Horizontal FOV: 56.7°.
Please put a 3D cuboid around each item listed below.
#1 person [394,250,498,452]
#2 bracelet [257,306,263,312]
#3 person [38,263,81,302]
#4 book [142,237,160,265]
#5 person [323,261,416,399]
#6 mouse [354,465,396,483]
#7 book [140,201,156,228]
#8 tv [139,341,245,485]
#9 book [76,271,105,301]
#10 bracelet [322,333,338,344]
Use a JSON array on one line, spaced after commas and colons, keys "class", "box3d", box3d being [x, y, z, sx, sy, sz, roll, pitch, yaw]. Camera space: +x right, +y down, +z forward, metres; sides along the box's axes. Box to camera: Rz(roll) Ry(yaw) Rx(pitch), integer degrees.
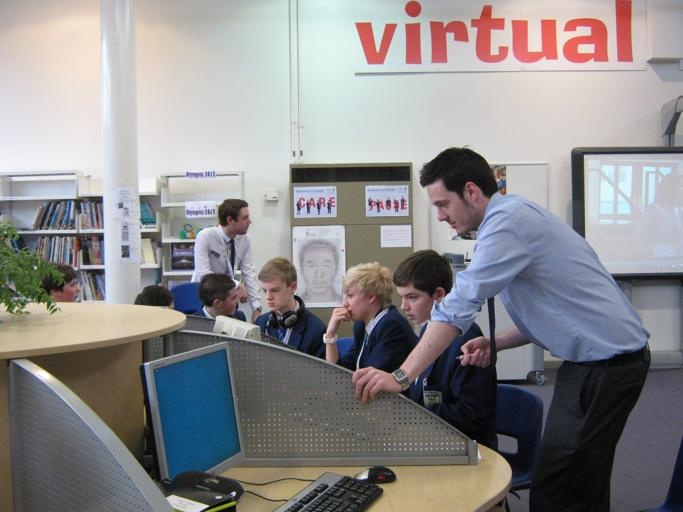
[{"class": "person", "box3d": [0.473, 0.465, 3.099, 0.510, 0.998, 0.559, -13, 14, -25]}, {"class": "bracelet", "box3d": [-0.708, 0.465, 5.540, 0.034, 0.028, 0.039, 5, -15, -13]}, {"class": "person", "box3d": [-1.869, 0.189, 4.218, 0.201, 0.261, 0.689, 0, 1, -25]}, {"class": "book", "box3d": [-1.789, -0.034, 6.116, 0.188, 0.286, 0.278, -1, 2, 2]}, {"class": "person", "box3d": [0.150, 0.443, 3.514, 0.495, 0.802, 0.571, 2, -13, -10]}, {"class": "mouse", "box3d": [0.147, 0.861, 2.474, 0.114, 0.046, 0.072, 5, -6, -2]}, {"class": "book", "box3d": [-1.856, -0.399, 6.089, 0.158, 0.241, 0.068, -2, 3, -3]}, {"class": "tv", "box3d": [-0.567, 0.627, 2.447, 0.427, 0.523, 0.048, -14, 3, -37]}, {"class": "book", "box3d": [-2.366, 0.282, 6.011, 0.242, 0.378, 0.246, 0, -1, 5]}, {"class": "bracelet", "box3d": [-0.065, 0.458, 3.508, 0.076, 0.049, 0.098, 2, -1, -1]}]
